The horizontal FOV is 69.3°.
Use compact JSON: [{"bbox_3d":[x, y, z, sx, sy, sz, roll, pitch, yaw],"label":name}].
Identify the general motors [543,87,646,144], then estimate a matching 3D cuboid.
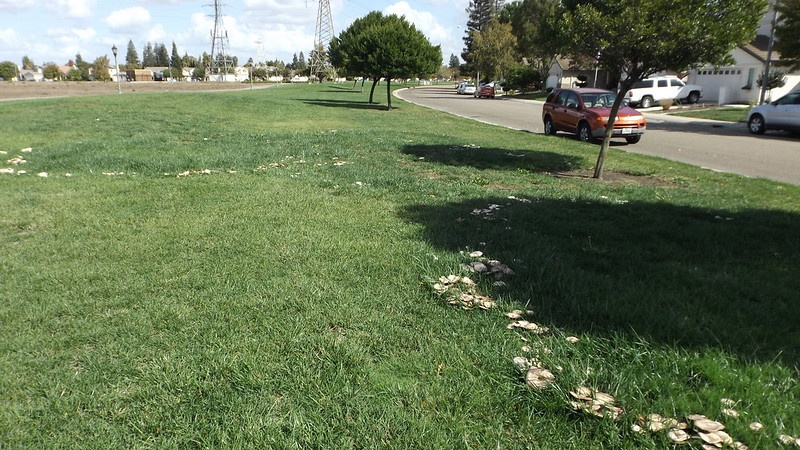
[{"bbox_3d":[8.002,-4.507,24.458,2.662,1.976,4.781,-3,12,-17],"label":"general motors"}]
